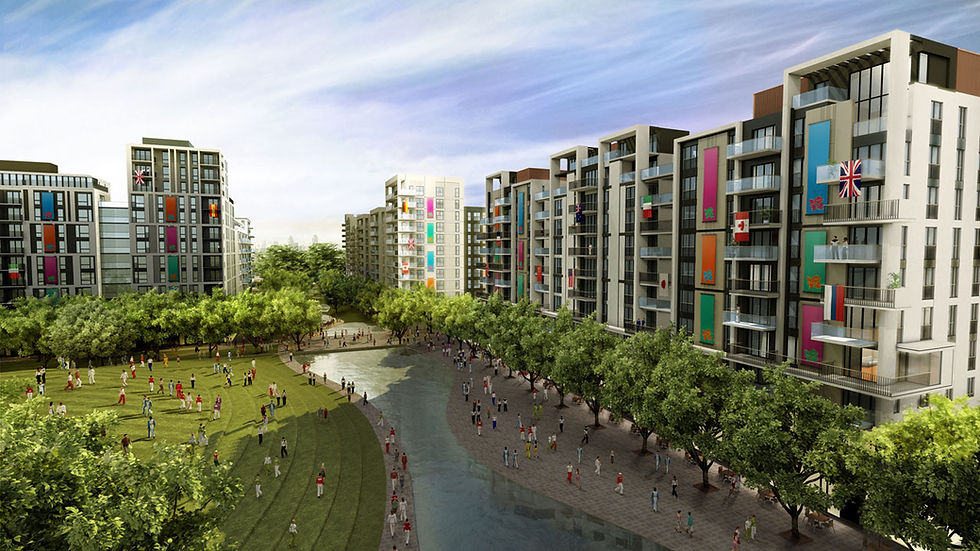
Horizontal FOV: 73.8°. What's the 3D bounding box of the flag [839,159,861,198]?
[{"bbox_3d":[47.294,-12.644,86.104,2.584,4.923,1.900,4,10,18],"label":"flag"}]
